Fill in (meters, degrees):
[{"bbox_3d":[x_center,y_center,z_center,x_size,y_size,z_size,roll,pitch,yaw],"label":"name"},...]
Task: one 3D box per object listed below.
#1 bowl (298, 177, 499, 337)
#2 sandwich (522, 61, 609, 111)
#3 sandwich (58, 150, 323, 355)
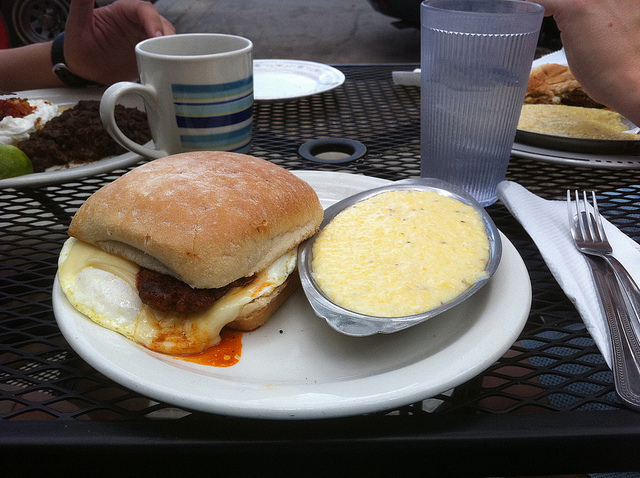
[{"bbox_3d":[0.140,0.032,0.912,0.293,0.046,0.314,-4,39,4],"label":"bowl"},{"bbox_3d":[0.766,-0.429,1.614,0.317,0.064,0.223,-4,2,-27],"label":"sandwich"},{"bbox_3d":[-0.224,0.000,0.972,0.397,0.184,0.440,19,43,22],"label":"sandwich"}]
